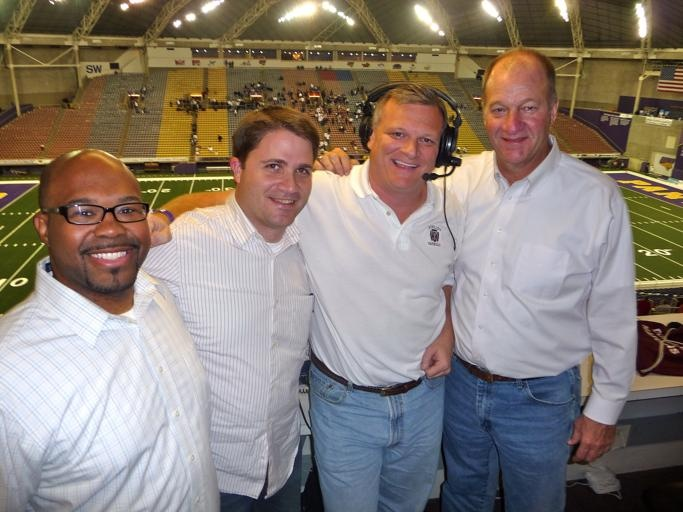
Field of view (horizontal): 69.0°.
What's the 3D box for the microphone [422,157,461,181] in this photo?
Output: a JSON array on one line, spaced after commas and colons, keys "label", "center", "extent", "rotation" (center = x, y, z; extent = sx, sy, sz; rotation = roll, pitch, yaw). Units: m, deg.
[{"label": "microphone", "center": [0.598, -0.529, 3.003], "extent": [0.203, 0.073, 0.143], "rotation": [-29, 16, -27]}]
